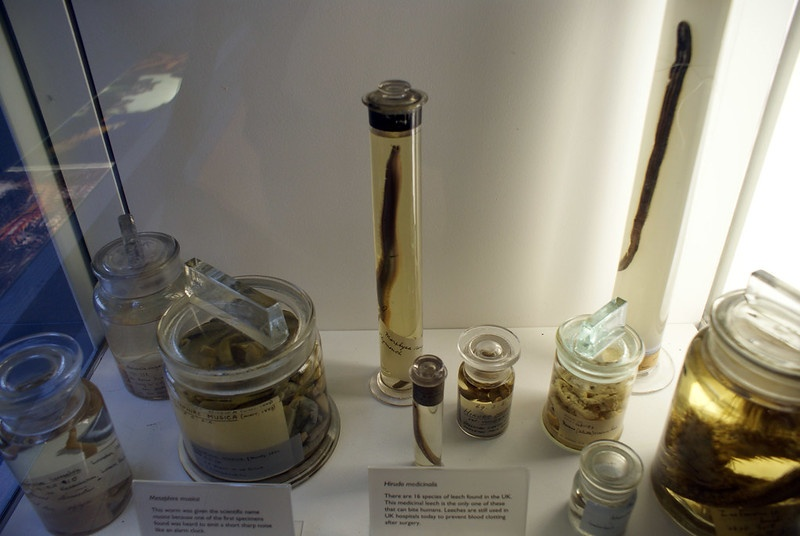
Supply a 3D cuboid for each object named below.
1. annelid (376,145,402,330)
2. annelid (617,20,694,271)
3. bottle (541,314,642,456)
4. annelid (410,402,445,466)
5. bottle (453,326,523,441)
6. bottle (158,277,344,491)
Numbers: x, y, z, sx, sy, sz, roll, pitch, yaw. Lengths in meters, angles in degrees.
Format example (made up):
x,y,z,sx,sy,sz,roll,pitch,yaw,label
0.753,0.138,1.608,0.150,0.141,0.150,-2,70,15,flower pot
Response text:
x,y,z,sx,sy,sz,roll,pitch,yaw,label
-0.018,-0.068,1.076,0.041,0.291,0.039,2,17,9,annelid
0.467,-0.217,1.088,0.053,0.364,0.016,26,39,25,annelid
0.357,0.222,1.099,0.142,0.227,0.154,-3,36,2,bottle
0.054,0.286,1.080,0.044,0.166,0.040,-8,22,-19,annelid
0.175,0.197,1.194,0.114,0.204,0.196,6,37,12,bottle
-0.266,0.218,1.193,0.339,0.349,0.348,-10,34,-17,bottle
